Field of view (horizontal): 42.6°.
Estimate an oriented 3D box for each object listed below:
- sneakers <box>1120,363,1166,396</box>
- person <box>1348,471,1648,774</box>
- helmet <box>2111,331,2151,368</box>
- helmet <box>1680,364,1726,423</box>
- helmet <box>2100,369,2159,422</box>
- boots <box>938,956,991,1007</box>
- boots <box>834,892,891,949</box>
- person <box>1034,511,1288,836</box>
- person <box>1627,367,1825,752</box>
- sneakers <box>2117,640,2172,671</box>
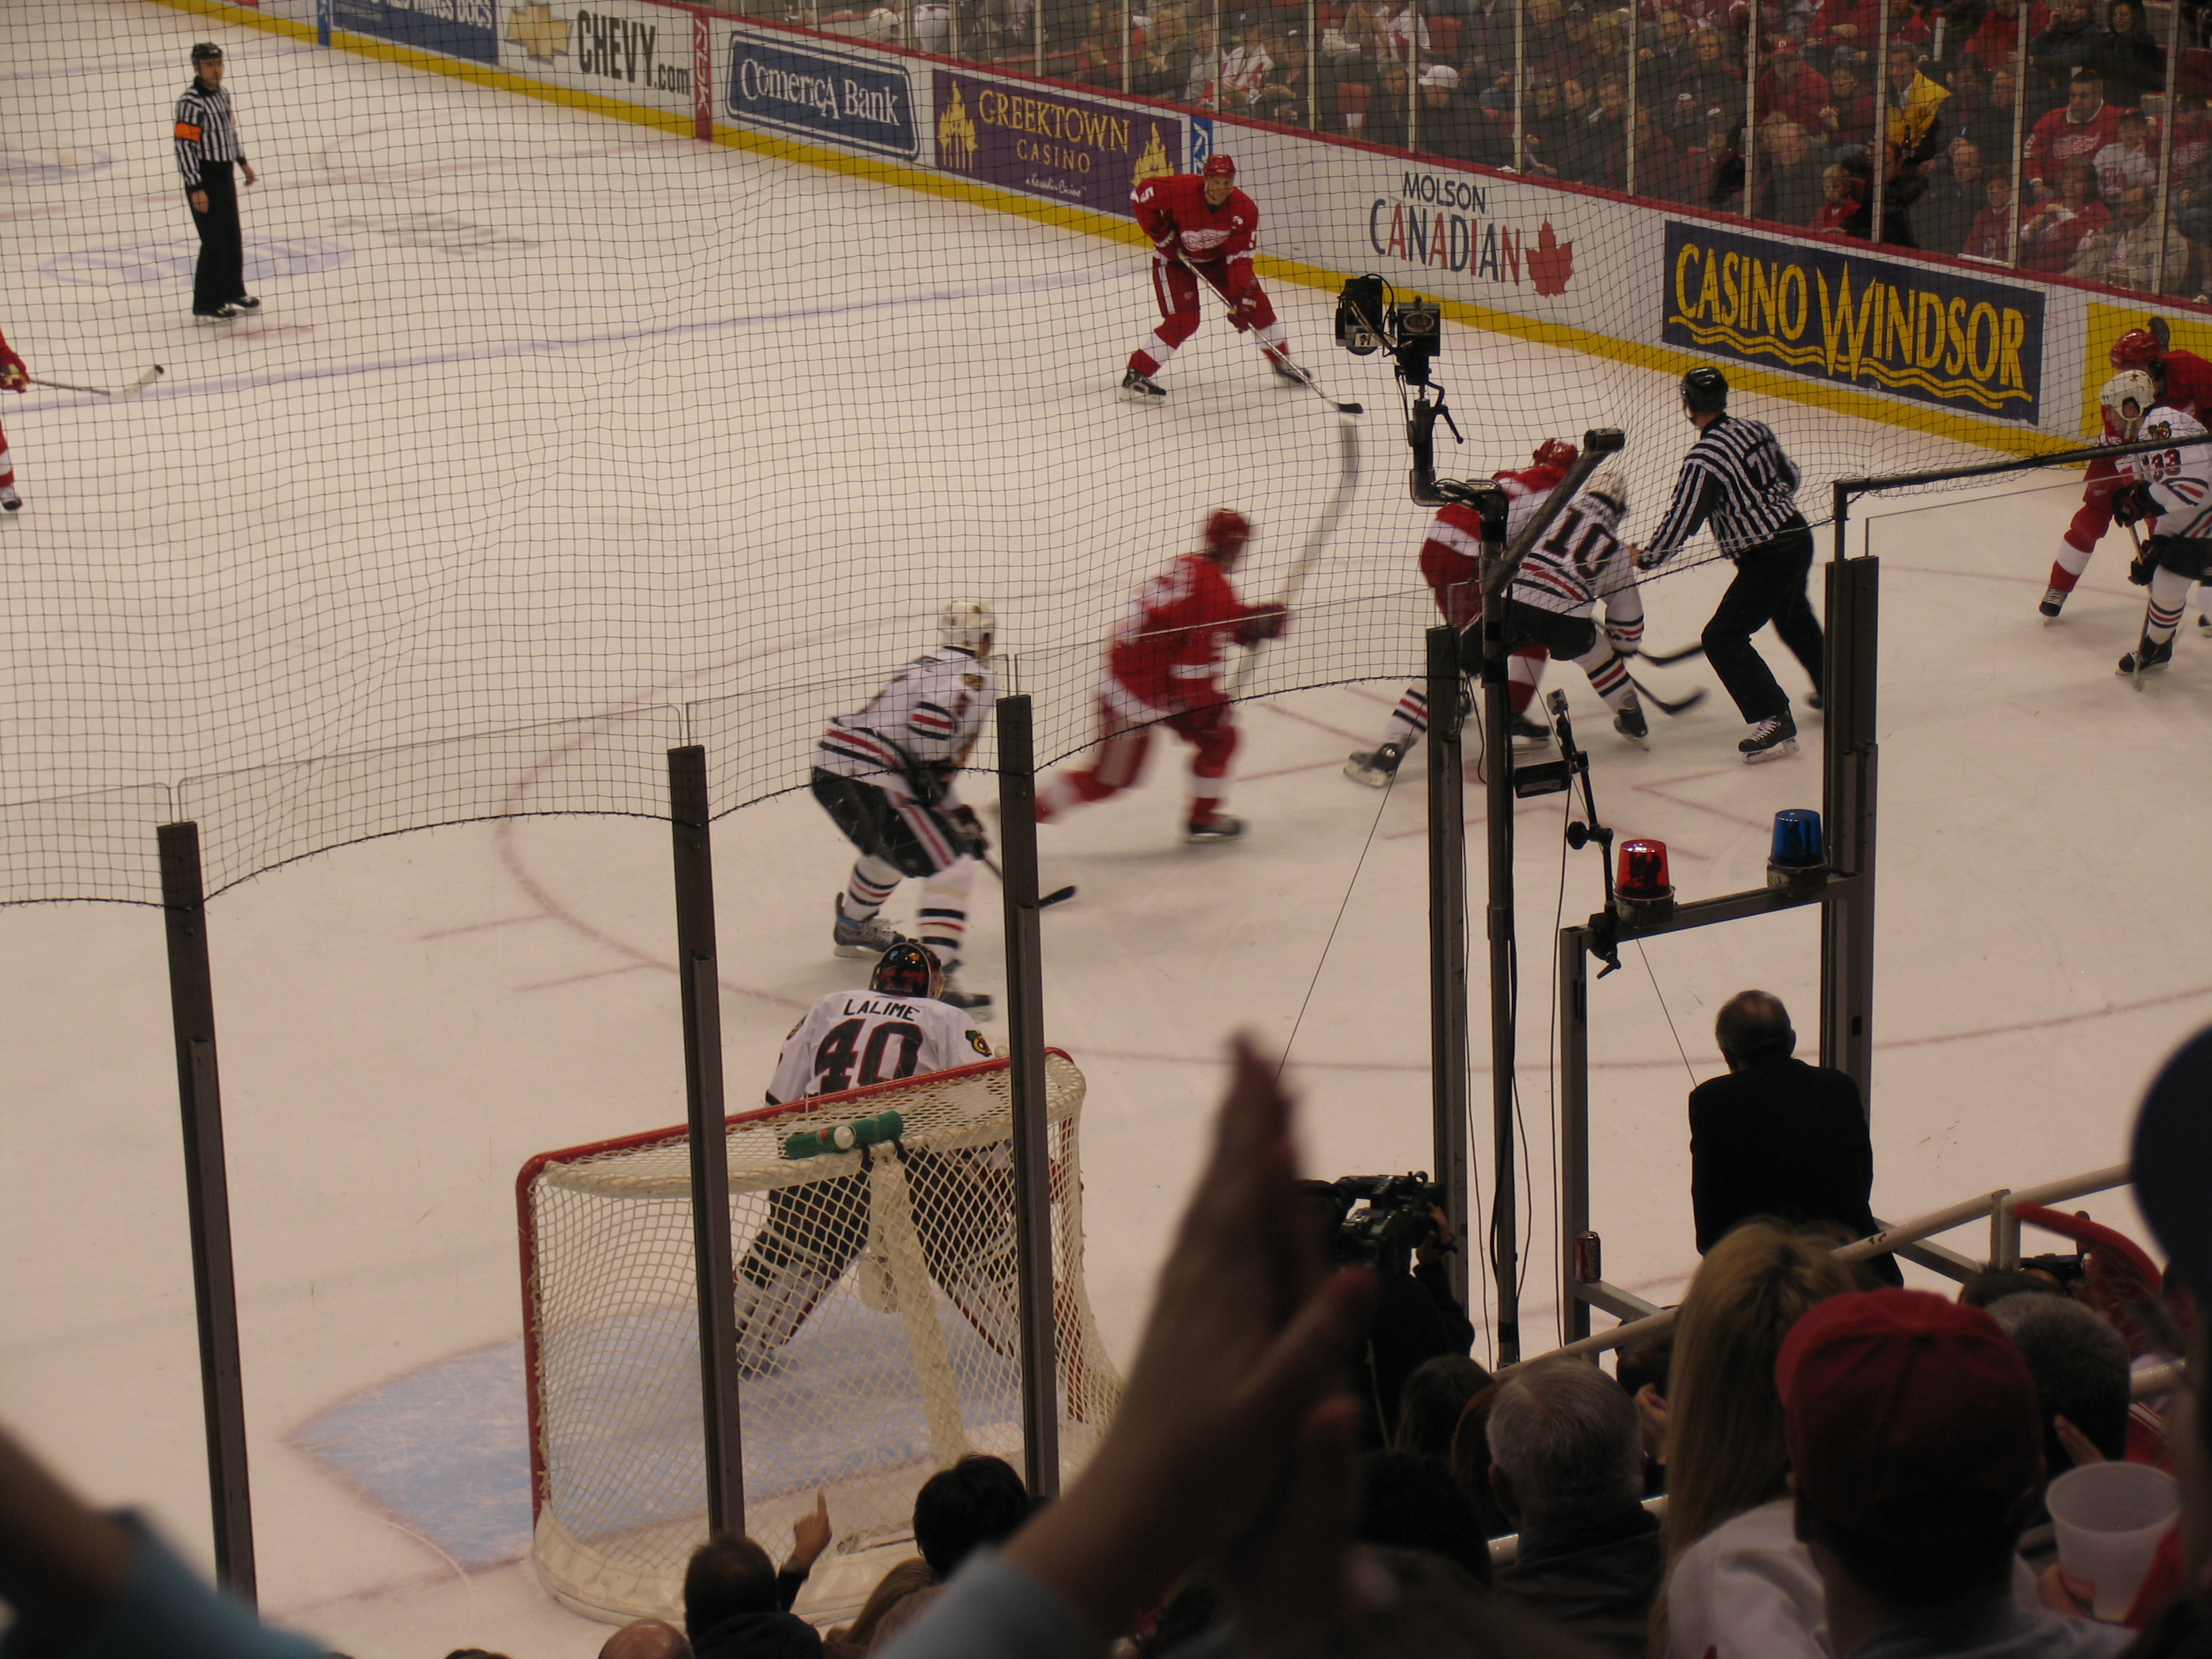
[{"bbox_3d":[0.246,-2.434,15.422,0.297,0.202,0.103,-5,33,-17],"label":"sneakers"},{"bbox_3d":[1.527,-0.720,10.564,0.738,1.046,1.646,12,27,42],"label":"person"},{"bbox_3d":[4.197,-1.927,11.623,0.124,0.141,0.158,9,54,28],"label":"helmet"},{"bbox_3d":[2.311,-1.688,11.000,0.182,0.220,0.217,2,59,2],"label":"helmet"},{"bbox_3d":[4.127,-1.725,11.421,0.212,0.195,0.164,-2,35,19],"label":"helmet"},{"bbox_3d":[-0.406,0.498,8.947,0.239,0.160,0.078,1,11,5],"label":"boots"},{"bbox_3d":[-0.734,0.284,9.113,0.291,0.196,0.095,-1,41,-4],"label":"boots"},{"bbox_3d":[0.211,-0.521,10.359,1.090,1.313,0.525,-9,50,-6],"label":"person"},{"bbox_3d":[2.401,-1.013,10.705,0.713,1.285,1.174,7,18,11],"label":"person"},{"bbox_3d":[3.983,-0.653,10.889,0.199,0.080,0.099,-1,53,7],"label":"sneakers"}]
